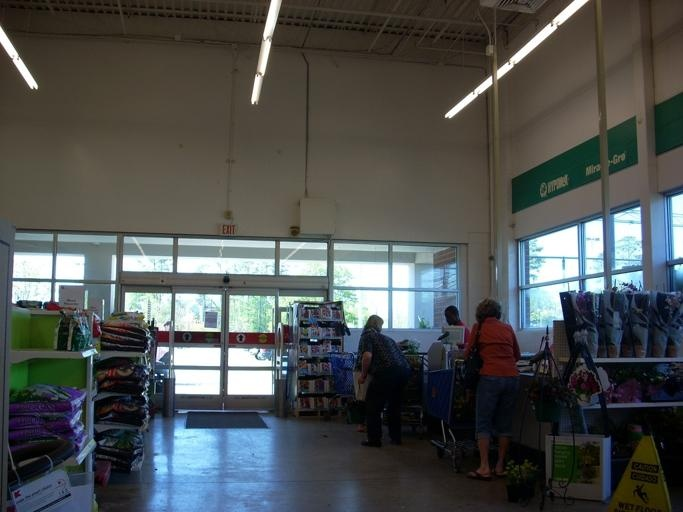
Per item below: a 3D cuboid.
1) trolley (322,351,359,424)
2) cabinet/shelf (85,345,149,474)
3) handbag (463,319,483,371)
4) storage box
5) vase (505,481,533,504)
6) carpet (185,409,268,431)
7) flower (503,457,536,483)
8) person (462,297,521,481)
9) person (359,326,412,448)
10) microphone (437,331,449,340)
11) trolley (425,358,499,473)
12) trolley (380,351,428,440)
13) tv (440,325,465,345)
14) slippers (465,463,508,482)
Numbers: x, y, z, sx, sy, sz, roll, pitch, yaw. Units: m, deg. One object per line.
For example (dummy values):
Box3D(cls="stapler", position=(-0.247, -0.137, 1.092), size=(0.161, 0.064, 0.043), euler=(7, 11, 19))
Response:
Box3D(cls="trolley", position=(0.053, 2.368, 10.503), size=(0.693, 1.099, 0.716), euler=(-12, -54, 1))
Box3D(cls="cabinet/shelf", position=(-2.507, 1.740, 6.716), size=(0.430, 1.291, 1.287), euler=(6, -9, -13))
Box3D(cls="handbag", position=(1.523, 1.048, 6.684), size=(0.196, 0.572, 0.414), euler=(11, -21, 12))
Box3D(cls="storage box", position=(2.292, 2.049, 5.587), size=(0.548, 0.611, 0.318), euler=(1, -2, 11))
Box3D(cls="vase", position=(1.700, 2.248, 5.486), size=(0.190, 0.131, 0.199), euler=(0, -11, -4))
Box3D(cls="carpet", position=(-2.026, 2.867, 10.146), size=(1.292, 0.085, 2.247), euler=(1, -6, -13))
Box3D(cls="flower", position=(1.798, 2.157, 5.820), size=(0.322, 0.245, 0.333), euler=(2, -10, -9))
Box3D(cls="person", position=(1.660, 1.441, 6.361), size=(0.547, 1.921, 0.339), euler=(-2, -6, 13))
Box3D(cls="person", position=(0.594, 1.700, 7.903), size=(0.676, 1.742, 0.490), euler=(-1, -6, 2))
Box3D(cls="microphone", position=(1.421, 1.148, 8.076), size=(0.145, 0.045, 0.116), euler=(-39, 5, 24))
Box3D(cls="trolley", position=(1.524, 2.014, 7.483), size=(0.665, 1.215, 1.285), euler=(6, -10, -6))
Box3D(cls="trolley", position=(0.872, 2.101, 8.821), size=(0.680, 1.112, 0.566), euler=(-9, -16, 34))
Box3D(cls="tv", position=(1.544, 1.066, 8.034), size=(0.331, 0.321, 0.193), euler=(-1, -8, 18))
Box3D(cls="slippers", position=(1.562, 2.360, 6.215), size=(0.296, 0.094, 0.185), euler=(-1, -6, 23))
